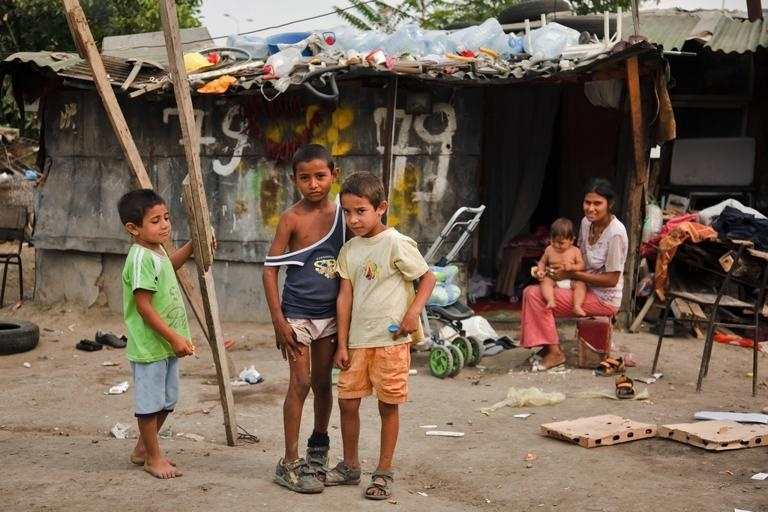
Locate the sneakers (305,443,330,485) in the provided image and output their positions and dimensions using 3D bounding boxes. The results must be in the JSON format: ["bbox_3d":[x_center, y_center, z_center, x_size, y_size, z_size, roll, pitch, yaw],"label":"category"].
[{"bbox_3d":[-0.624,1.913,8.256,0.235,0.257,0.650,7,12,-9],"label":"sneakers"}]

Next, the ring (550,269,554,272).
[{"bbox_3d":[2.134,0.186,11.027,0.049,0.031,0.046,0,-2,0],"label":"ring"}]

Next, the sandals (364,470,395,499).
[{"bbox_3d":[-0.042,2.094,7.981,0.259,0.229,0.177,-1,14,-2],"label":"sandals"}]

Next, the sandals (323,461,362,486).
[{"bbox_3d":[-0.382,2.049,8.215,0.363,0.139,0.158,3,-1,-9],"label":"sandals"}]

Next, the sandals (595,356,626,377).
[{"bbox_3d":[2.828,1.383,10.834,0.409,0.150,0.173,5,-7,-40],"label":"sandals"}]

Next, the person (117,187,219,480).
[{"bbox_3d":[-2.109,0.691,8.140,0.562,2.546,0.946,-5,15,-16],"label":"person"}]

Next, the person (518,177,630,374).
[{"bbox_3d":[2.409,0.238,10.943,1.214,2.372,0.744,1,14,4],"label":"person"}]

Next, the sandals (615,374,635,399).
[{"bbox_3d":[2.807,1.516,10.082,0.228,0.216,0.234,3,13,13],"label":"sandals"}]

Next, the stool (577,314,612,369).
[{"bbox_3d":[2.646,1.090,11.005,0.394,0.643,0.300,5,15,20],"label":"stool"}]

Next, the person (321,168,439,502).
[{"bbox_3d":[-0.087,0.716,8.035,0.871,2.893,0.918,6,15,22],"label":"person"}]
